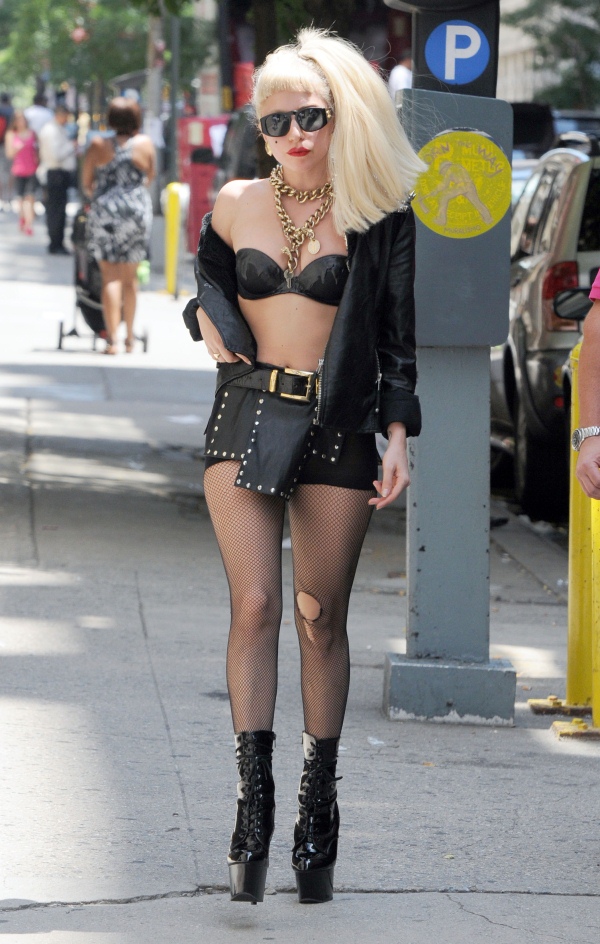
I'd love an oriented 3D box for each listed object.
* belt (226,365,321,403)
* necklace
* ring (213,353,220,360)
[{"bbox_3d":[-0.051,-0.176,2.537,0.122,0.033,0.088,9,4,14],"label":"belt"},{"bbox_3d":[0.000,-0.493,2.524,0.110,0.205,0.037,11,-24,5],"label":"necklace"},{"bbox_3d":[-0.165,-0.229,2.548,0.009,0.006,0.012,2,-24,-3],"label":"ring"}]
